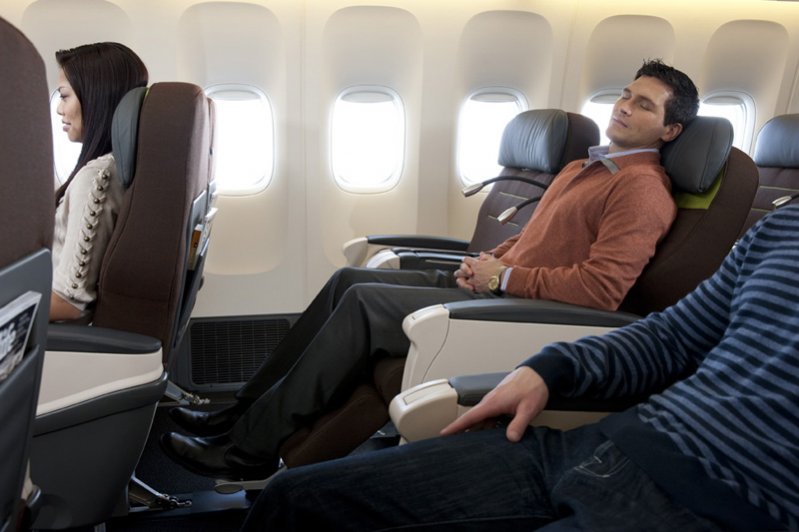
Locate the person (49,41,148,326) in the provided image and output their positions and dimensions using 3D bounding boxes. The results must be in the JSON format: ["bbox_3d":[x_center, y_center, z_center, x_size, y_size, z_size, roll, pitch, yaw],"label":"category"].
[{"bbox_3d":[-0.984,-0.276,1.875,0.298,0.904,0.452,-2,12,-25],"label":"person"}]
